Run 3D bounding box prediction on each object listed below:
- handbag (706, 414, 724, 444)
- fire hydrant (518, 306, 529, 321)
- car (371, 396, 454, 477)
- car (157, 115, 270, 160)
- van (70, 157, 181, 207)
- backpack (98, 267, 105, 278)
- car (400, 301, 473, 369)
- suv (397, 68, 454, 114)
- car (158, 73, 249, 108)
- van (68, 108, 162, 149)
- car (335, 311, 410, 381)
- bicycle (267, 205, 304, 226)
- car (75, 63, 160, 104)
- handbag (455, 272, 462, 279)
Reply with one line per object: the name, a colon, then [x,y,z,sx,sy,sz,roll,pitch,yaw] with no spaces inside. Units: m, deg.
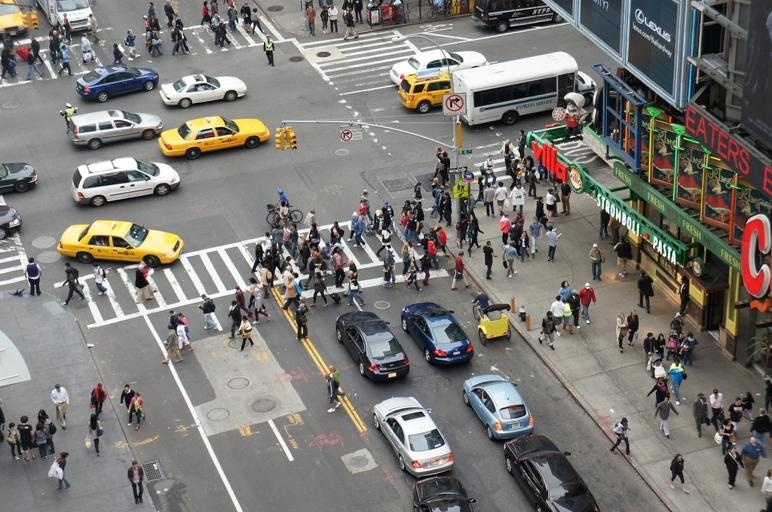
handbag: [15.743,8.361,64.677,0.324,1.024,0.729,3,9,-14]
fire hydrant: [7.117,2.860,70.727,0.573,0.970,0.475,-6,39,3]
car: [1.081,8.662,64.690,2.086,1.526,4.686,-14,44,-15]
car: [-10.578,-7.796,83.205,6.396,2.058,3.004,-15,46,-10]
van: [-15.488,-4.094,78.911,6.128,2.851,2.715,-5,10,-28]
backpack: [-15.457,0.862,73.005,0.508,0.309,0.500,16,10,-31]
car: [2.565,3.963,68.782,1.875,1.497,4.400,-13,41,-16]
suv: [2.384,-10.448,86.023,3.010,2.209,1.253,-13,29,-1]
car: [-11.962,-10.775,87.880,5.190,2.026,1.131,-16,30,-4]
van: [-16.992,-7.839,84.477,5.049,1.805,2.618,-12,49,-12]
car: [-0.739,4.527,68.283,2.437,2.723,6.056,-2,10,-10]
bicycle: [-5.713,-2.371,76.962,2.095,1.365,1.083,-12,64,-12]
car: [-17.820,-11.448,89.361,5.107,1.854,2.452,-18,45,-21]
handbag: [3.904,0.980,73.411,0.362,0.395,0.299,1,45,1]
